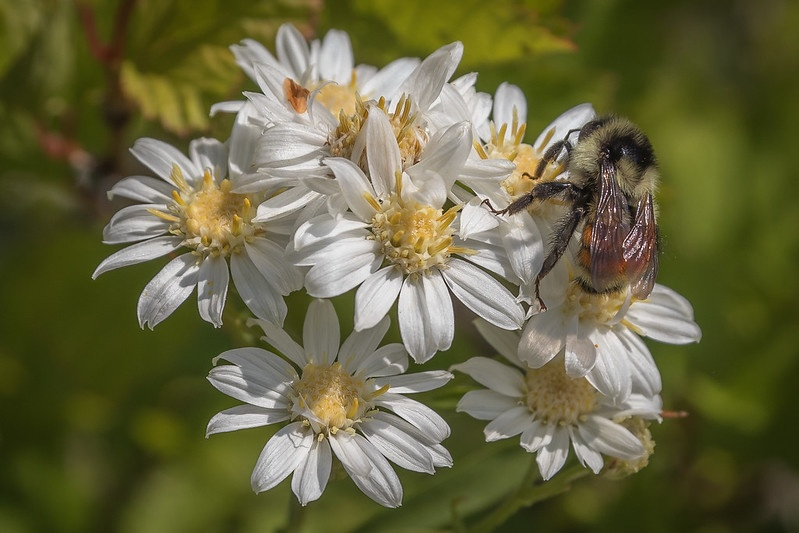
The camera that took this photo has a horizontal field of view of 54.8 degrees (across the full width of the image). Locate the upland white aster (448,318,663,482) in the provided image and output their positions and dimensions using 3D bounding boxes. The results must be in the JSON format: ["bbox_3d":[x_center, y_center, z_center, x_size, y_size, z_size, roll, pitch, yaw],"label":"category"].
[{"bbox_3d":[0.561,0.393,2.595,0.626,0.707,0.167,21,28,23],"label":"upland white aster"}]

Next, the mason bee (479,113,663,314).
[{"bbox_3d":[0.609,-0.197,2.739,0.494,0.718,0.558,4,22,12],"label":"mason bee"}]
